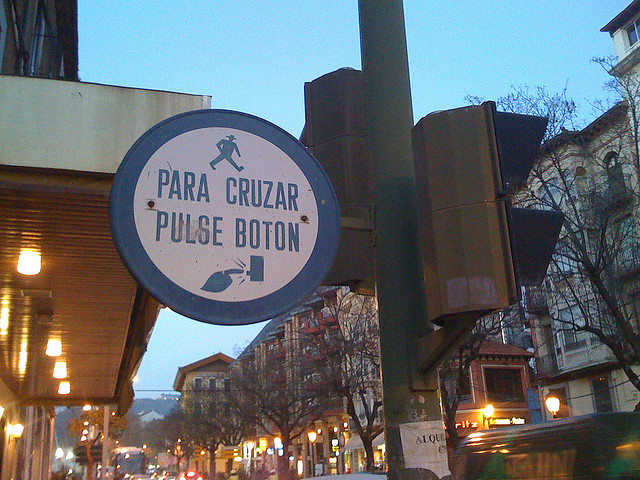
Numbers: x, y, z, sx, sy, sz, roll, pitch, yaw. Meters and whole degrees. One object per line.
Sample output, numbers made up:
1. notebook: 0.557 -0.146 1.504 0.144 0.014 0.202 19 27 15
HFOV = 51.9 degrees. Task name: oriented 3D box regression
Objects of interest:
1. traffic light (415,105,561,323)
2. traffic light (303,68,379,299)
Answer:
1. traffic light: 1.281 -0.179 5.008 0.985 1.565 0.727 2 -16 -16
2. traffic light: 0.365 -0.479 5.712 0.675 1.779 0.621 -12 7 32
